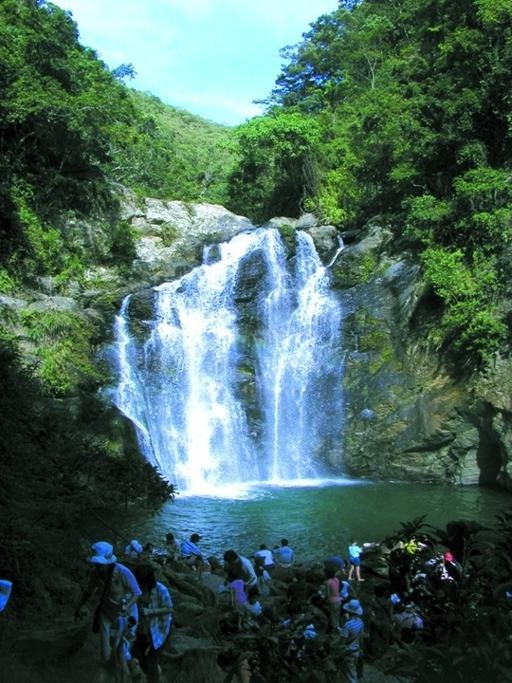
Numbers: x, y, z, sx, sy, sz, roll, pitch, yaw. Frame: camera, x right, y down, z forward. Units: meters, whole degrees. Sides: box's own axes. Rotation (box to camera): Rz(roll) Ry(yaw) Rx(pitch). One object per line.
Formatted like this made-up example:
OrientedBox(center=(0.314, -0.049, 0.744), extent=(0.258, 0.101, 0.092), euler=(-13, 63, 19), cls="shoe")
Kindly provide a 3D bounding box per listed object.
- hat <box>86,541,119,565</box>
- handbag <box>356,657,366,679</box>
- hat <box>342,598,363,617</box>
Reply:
OrientedBox(center=(-1.621, 2.249, 7.136), extent=(0.300, 0.169, 0.280), euler=(7, -4, -6), cls="hat")
OrientedBox(center=(1.262, 3.906, 8.085), extent=(0.071, 0.283, 0.409), euler=(-2, -3, 13), cls="handbag")
OrientedBox(center=(1.138, 3.181, 7.957), extent=(0.220, 0.218, 0.136), euler=(-3, -3, 23), cls="hat")
